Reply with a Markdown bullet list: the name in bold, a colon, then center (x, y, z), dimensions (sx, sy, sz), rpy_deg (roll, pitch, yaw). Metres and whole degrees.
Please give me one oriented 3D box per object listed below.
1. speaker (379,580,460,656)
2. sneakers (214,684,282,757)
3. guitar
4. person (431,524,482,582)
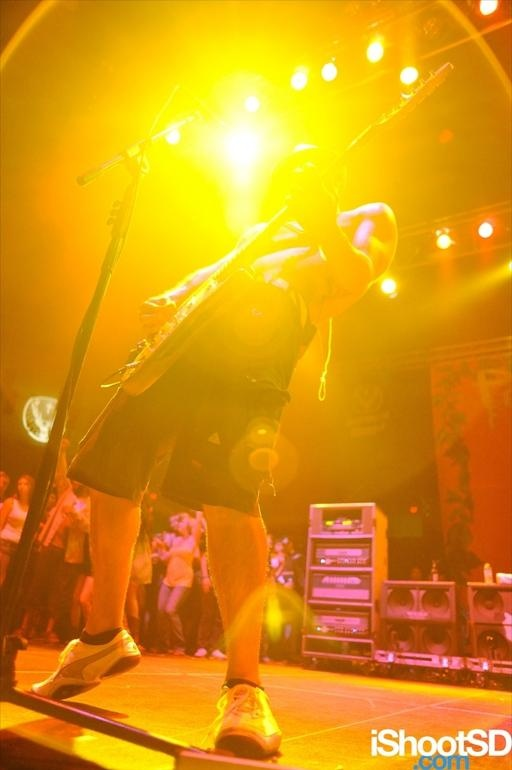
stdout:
- **speaker**: center (1.736, 2.412, 6.835), dimensions (0.820, 0.741, 0.490), rpy_deg (-11, -25, 37)
- **sneakers**: center (-0.018, 0.853, 1.697), dimensions (0.167, 0.164, 0.152), rpy_deg (4, -24, 0)
- **guitar**: center (0.251, -1.082, 4.071), dimensions (0.370, 3.451, 0.503), rpy_deg (34, -11, 21)
- **person**: center (2.981, 2.536, 10.020), dimensions (0.715, 0.809, 0.483), rpy_deg (-8, -27, 26)
